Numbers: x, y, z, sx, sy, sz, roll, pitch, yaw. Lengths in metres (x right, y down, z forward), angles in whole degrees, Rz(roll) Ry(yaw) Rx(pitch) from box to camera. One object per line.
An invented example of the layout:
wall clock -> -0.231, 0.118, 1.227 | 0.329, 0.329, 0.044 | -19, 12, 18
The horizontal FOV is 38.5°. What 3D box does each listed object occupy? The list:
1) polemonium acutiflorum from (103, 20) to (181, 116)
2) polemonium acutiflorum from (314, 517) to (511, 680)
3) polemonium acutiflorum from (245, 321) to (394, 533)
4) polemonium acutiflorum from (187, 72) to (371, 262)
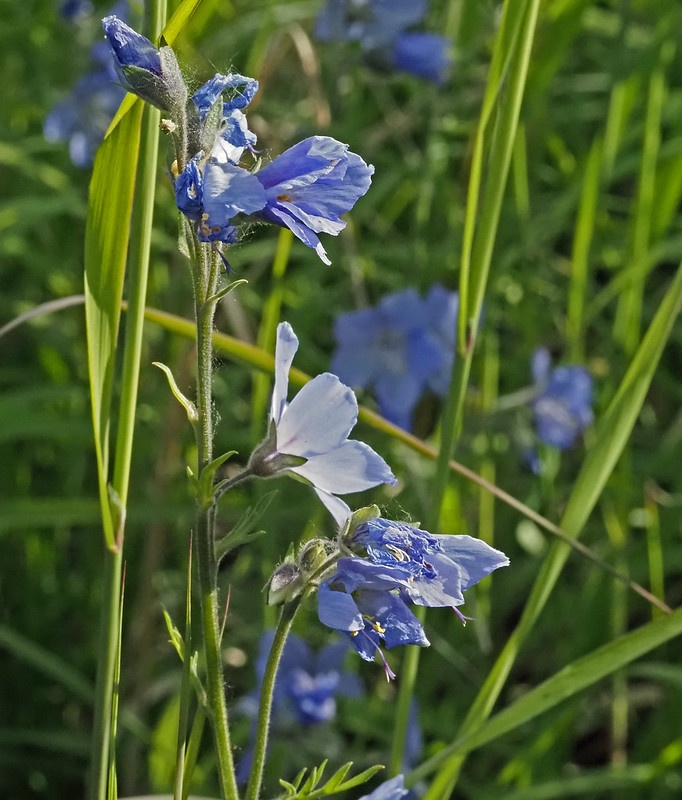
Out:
polemonium acutiflorum -> -0.157, -0.267, 0.780 | 0.068, 0.067, 0.045 | 5, 37, 4
polemonium acutiflorum -> 0.035, 0.150, 0.775 | 0.171, 0.110, 0.062 | -2, 15, -10
polemonium acutiflorum -> -0.012, 0.015, 0.820 | 0.126, 0.133, 0.101 | 5, 36, 3
polemonium acutiflorum -> -0.050, -0.188, 0.788 | 0.150, 0.117, 0.155 | 3, 35, 1
